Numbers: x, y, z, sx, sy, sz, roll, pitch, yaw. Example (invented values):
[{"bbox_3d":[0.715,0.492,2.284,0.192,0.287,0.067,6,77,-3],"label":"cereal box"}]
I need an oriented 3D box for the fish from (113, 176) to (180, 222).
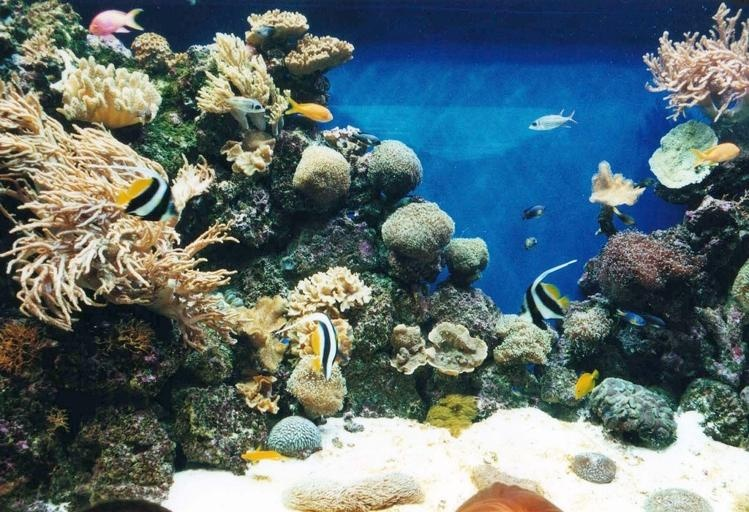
[{"bbox_3d":[-2.744,-0.682,8.282,0.654,0.562,0.288,-12,35,-19],"label":"fish"}]

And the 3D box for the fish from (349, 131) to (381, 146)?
[{"bbox_3d":[-0.157,-1.950,11.315,0.549,0.171,0.290,16,16,17],"label":"fish"}]
